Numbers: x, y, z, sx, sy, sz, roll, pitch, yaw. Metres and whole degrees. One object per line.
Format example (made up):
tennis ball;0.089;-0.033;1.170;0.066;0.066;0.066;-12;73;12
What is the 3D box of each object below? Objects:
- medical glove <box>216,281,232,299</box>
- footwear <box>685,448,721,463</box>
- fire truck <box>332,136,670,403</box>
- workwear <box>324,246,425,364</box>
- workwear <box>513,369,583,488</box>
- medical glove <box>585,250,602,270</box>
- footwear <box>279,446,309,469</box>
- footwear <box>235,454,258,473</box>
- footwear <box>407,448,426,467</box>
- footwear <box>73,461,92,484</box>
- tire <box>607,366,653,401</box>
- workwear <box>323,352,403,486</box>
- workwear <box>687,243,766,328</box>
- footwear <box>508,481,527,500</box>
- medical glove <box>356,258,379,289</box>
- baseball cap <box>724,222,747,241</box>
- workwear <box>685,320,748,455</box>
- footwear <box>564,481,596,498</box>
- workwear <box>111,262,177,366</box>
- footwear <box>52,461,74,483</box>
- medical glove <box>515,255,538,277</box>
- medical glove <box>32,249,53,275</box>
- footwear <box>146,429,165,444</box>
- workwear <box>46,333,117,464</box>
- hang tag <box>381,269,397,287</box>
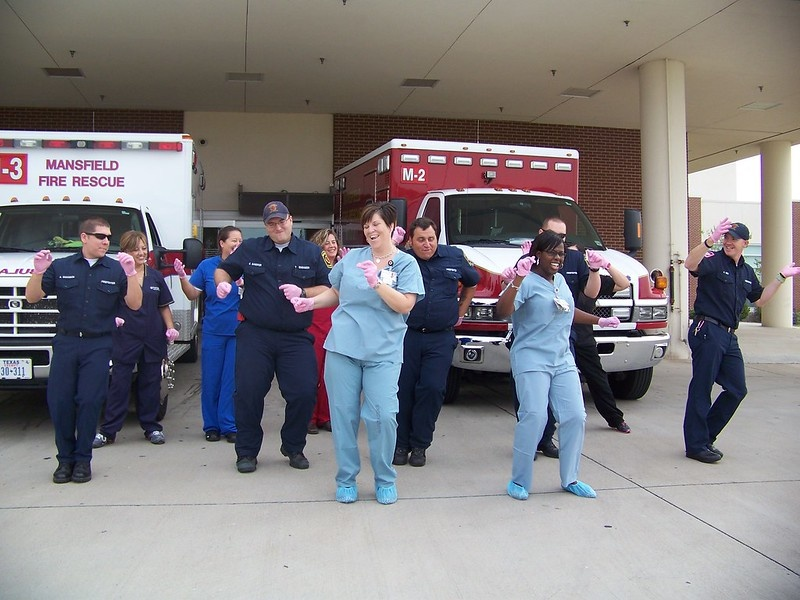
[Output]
medical glove;-1.427;-0.062;5.178;0.106;0.140;0.065;33;20;-18
footwear;2.746;1.401;5.815;0.207;0.082;0.116;-8;-1;36
fire truck;1.030;-0.637;9.726;3.194;3.414;6.721;1;1;-14
workwear;-0.183;0.053;4.829;0.839;0.798;0.458;14;7;16
workwear;1.125;1.017;4.943;0.518;0.985;0.320;2;4;9
medical glove;1.666;-0.341;5.565;0.141;0.179;0.075;-2;-6;-1
footwear;-0.934;1.370;5.620;0.111;0.123;0.298;2;2;-41
footwear;-1.295;1.385;5.421;0.154;0.122;0.102;0;4;-15
footwear;0.141;1.393;5.684;0.106;0.105;0.266;0;-8;3
footwear;-2.542;1.379;5.151;0.134;0.141;0.137;-1;4;-25
tire;2.774;1.007;7.868;0.240;0.620;0.566;3;0;-23
workwear;-0.303;0.814;4.826;0.535;1.137;0.388;-2;-22;7
workwear;2.998;-0.101;5.971;0.899;0.755;0.379;16;-4;-23
footwear;0.897;1.466;4.951;0.081;0.059;0.153;-10;3;-27
medical glove;-0.235;-0.177;4.558;0.106;0.105;0.190;-8;-40;12
baseball cap;3.026;-0.618;5.780;0.194;0.102;0.134;17;1;-37
workwear;2.853;0.819;5.846;0.498;1.286;0.316;2;4;14
footwear;1.404;1.472;5.004;0.116;0.063;0.207;-13;11;-40
workwear;-2.524;0.153;6.225;0.689;1.008;0.331;-2;0;-29
footwear;-2.676;1.377;5.124;0.095;0.107;0.252;2;-10;-16
medical glove;0.950;-0.257;4.871;0.120;0.159;0.077;23;33;-6
medical glove;-2.842;-0.299;5.131;0.121;0.193;0.262;-1;5;-29
footwear;-2.364;1.325;6.235;0.090;0.089;0.229;0;-3;-35
workwear;-2.593;0.799;5.191;0.459;1.025;0.241;1;3;-6
hang tag;-0.088;-0.152;4.585;0.116;0.112;0.027;12;1;-14
